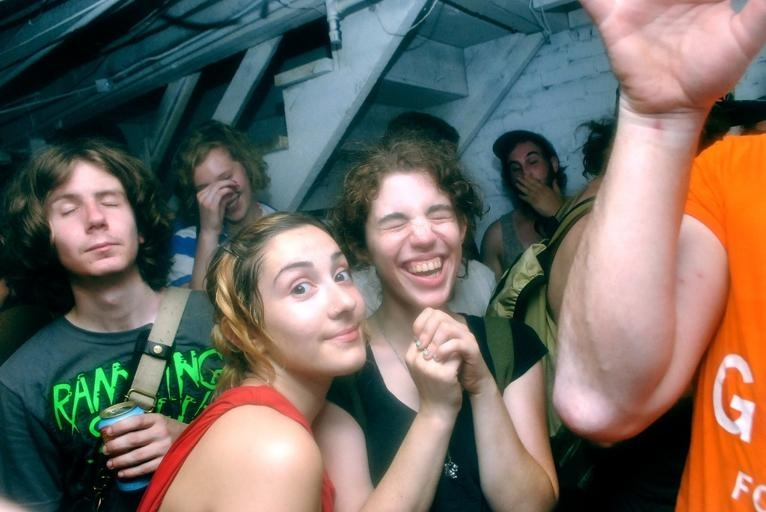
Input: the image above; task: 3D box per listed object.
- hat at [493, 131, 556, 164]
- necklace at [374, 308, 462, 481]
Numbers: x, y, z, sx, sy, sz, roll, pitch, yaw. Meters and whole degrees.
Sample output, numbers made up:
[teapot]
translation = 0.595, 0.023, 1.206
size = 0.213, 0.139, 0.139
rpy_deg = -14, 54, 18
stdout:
[hat]
translation = 0.982, -0.799, 4.903
size = 0.334, 0.094, 0.238
rpy_deg = -2, -39, 42
[necklace]
translation = 0.125, 0.559, 2.864
size = 0.375, 0.701, 0.171
rpy_deg = -2, -14, -2
